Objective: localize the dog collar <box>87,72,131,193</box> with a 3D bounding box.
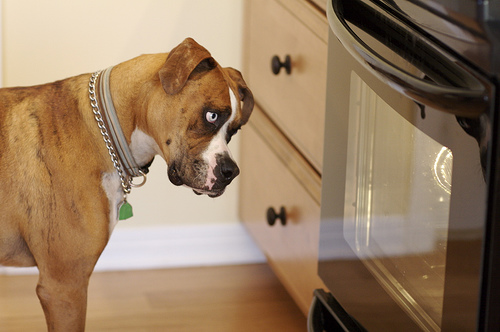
[{"bbox_3d":[-0.375,-0.087,1.339,0.082,0.322,0.060,-2,5,13],"label":"dog collar"}]
